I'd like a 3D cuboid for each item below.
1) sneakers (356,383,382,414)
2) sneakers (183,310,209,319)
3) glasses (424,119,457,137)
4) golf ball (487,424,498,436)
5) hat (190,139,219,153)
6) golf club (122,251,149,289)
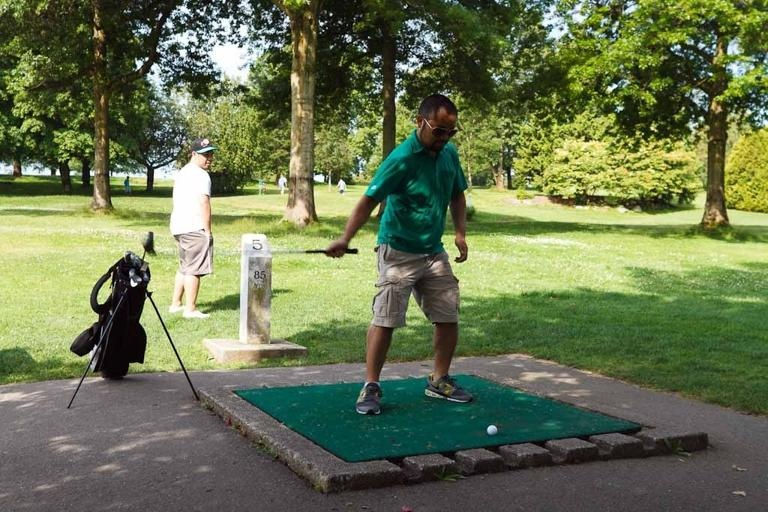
[{"bbox_3d":[-0.162,1.515,7.495,0.253,0.273,0.228,-1,10,-4],"label":"sneakers"},{"bbox_3d":[-3.113,0.978,11.737,0.330,0.115,0.169,0,0,-4],"label":"sneakers"},{"bbox_3d":[0.624,-1.363,7.558,0.362,0.190,0.227,-2,10,-13],"label":"glasses"},{"bbox_3d":[1.092,1.746,7.120,0.090,0.084,0.086,-27,-22,-12],"label":"golf ball"},{"bbox_3d":[-2.883,-1.761,11.380,0.353,0.183,0.264,-7,5,15],"label":"hat"},{"bbox_3d":[-2.981,0.153,8.427,0.331,0.146,0.435,3,40,-47],"label":"golf club"}]
